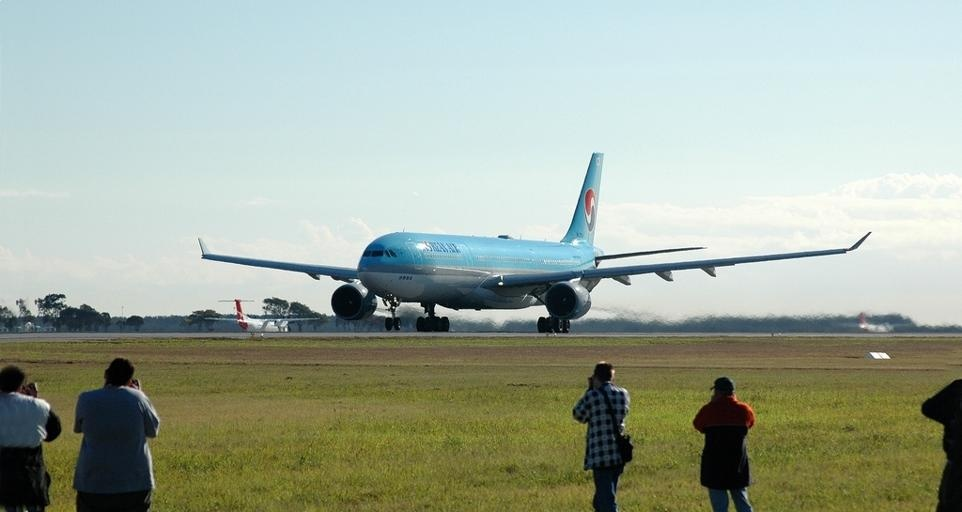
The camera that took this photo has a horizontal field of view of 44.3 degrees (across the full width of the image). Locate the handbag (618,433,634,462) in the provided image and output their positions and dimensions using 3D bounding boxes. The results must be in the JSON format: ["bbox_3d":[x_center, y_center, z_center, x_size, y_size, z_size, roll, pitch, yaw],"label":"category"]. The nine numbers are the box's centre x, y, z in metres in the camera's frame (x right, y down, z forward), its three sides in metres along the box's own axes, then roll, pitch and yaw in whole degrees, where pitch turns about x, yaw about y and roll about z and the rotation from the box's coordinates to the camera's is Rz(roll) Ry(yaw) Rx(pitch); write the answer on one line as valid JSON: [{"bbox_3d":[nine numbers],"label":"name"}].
[{"bbox_3d":[3.540,4.675,28.778,0.289,0.714,0.441,-1,-1,20],"label":"handbag"}]
